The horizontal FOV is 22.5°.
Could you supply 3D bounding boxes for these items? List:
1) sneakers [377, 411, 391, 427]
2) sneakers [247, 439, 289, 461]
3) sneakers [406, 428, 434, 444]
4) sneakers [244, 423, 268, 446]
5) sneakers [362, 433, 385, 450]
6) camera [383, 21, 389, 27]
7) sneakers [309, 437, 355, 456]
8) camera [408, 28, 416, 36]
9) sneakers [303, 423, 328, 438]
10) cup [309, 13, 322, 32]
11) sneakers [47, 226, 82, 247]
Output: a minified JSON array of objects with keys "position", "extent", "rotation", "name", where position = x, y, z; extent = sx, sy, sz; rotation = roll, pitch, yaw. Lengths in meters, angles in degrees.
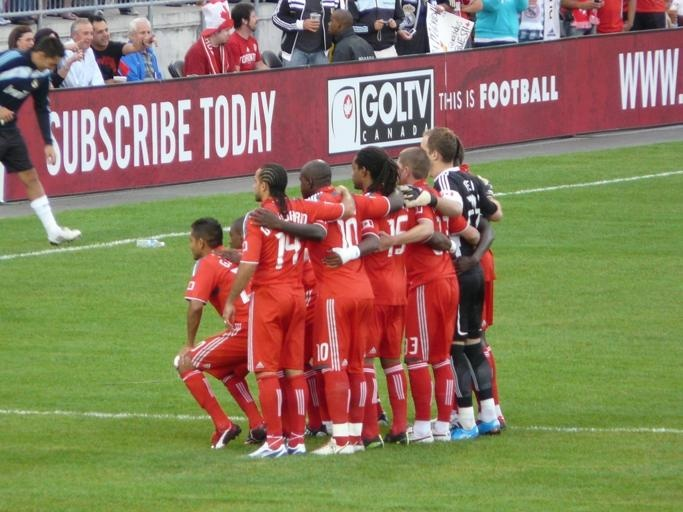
[{"position":[0.458,1.781,18.518],"extent":[0.153,0.161,0.423],"rotation":[-1,-10,9],"name":"sneakers"},{"position":[-0.734,2.012,17.433],"extent":[0.437,0.169,0.152],"rotation":[-1,-1,-3],"name":"sneakers"},{"position":[0.825,1.908,17.986],"extent":[0.295,0.115,0.116],"rotation":[4,5,19],"name":"sneakers"},{"position":[-0.874,1.899,17.998],"extent":[0.109,0.139,0.313],"rotation":[-9,-4,-30],"name":"sneakers"},{"position":[0.342,1.936,17.841],"extent":[0.202,0.124,0.254],"rotation":[-4,18,2],"name":"sneakers"},{"position":[0.738,-3.771,27.898],"extent":[0.064,0.061,0.059],"rotation":[2,41,-3],"name":"camera"},{"position":[-0.084,1.961,17.568],"extent":[0.462,0.179,0.165],"rotation":[1,-5,2],"name":"sneakers"},{"position":[1.238,-3.822,29.277],"extent":[0.033,0.138,0.101],"rotation":[39,50,5],"name":"camera"},{"position":[-0.254,1.892,18.350],"extent":[0.108,0.123,0.295],"rotation":[-2,4,-43],"name":"sneakers"},{"position":[-0.420,-3.698,27.289],"extent":[0.146,0.303,0.293],"rotation":[-1,18,12],"name":"cup"},{"position":[-3.615,-0.252,22.495],"extent":[0.473,0.222,0.196],"rotation":[-14,21,1],"name":"sneakers"}]
